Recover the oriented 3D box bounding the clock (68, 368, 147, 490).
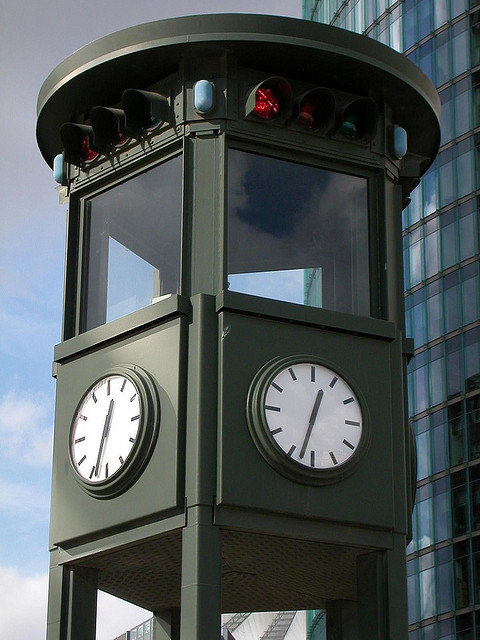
[{"bbox_3d":[-1.402,1.214,17.462,0.083,0.992,0.807,17,-35,-34],"label":"clock"}]

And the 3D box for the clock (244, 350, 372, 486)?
[{"bbox_3d":[0.624,1.074,17.031,0.952,1.188,0.136,13,-28,-37],"label":"clock"}]

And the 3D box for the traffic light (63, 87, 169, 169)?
[{"bbox_3d":[-1.466,-2.306,18.790,0.591,0.873,1.683,10,-12,-37],"label":"traffic light"}]
